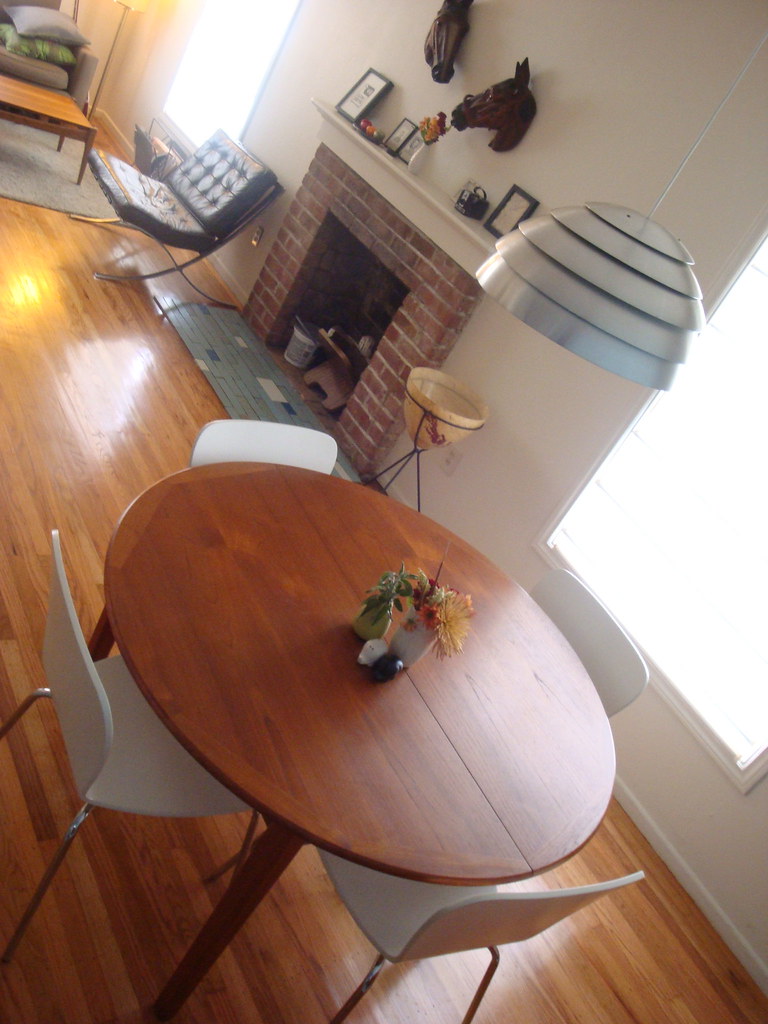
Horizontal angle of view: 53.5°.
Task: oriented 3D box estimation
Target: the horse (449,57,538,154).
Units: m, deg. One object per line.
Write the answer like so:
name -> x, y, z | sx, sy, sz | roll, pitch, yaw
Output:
horse -> 0.432, -1.628, 3.108 | 0.231, 0.333, 0.255 | -51, 136, -73

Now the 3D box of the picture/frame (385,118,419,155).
picture/frame -> 0.078, -1.811, 3.727 | 0.041, 0.173, 0.177 | 27, 47, -26

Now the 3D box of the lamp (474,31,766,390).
lamp -> 0.318, -0.379, 1.157 | 0.291, 0.519, 0.305 | 29, 8, -35

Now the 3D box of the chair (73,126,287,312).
chair -> -1.183, -1.640, 4.649 | 1.139, 0.724, 0.988 | -15, 54, -33

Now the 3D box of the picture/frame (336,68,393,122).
picture/frame -> -0.089, -2.109, 3.862 | 0.046, 0.332, 0.292 | 20, 29, -48

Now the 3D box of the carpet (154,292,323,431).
carpet -> -0.786, -0.809, 4.121 | 0.612, 0.185, 1.308 | 24, 24, -47

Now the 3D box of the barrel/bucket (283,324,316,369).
barrel/bucket -> -0.476, -0.941, 4.357 | 0.133, 0.209, 0.176 | -24, 71, -36
